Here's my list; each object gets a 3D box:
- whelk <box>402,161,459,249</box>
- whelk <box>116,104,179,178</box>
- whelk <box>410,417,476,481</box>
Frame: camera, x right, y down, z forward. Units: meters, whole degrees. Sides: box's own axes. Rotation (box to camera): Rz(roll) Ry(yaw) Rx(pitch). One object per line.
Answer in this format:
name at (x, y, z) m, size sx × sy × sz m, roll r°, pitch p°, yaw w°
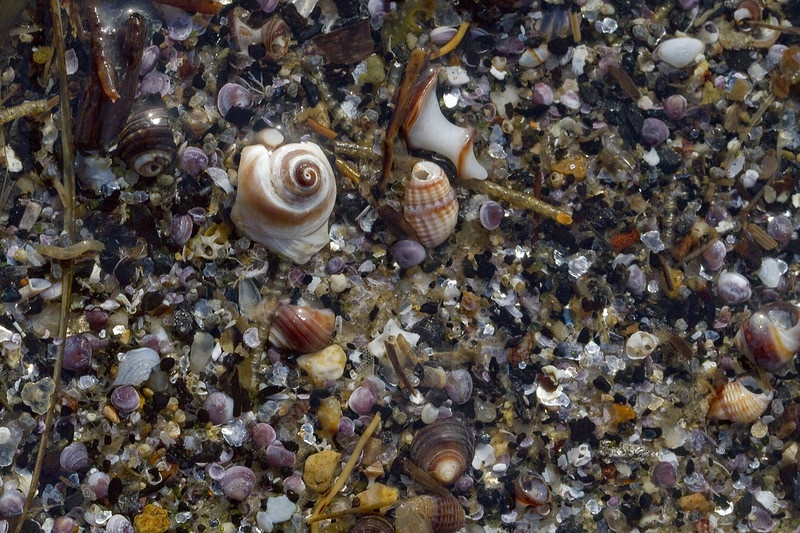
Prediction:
whelk at (0.182, -0.373, 5.585) m, size 0.365 × 0.425 × 0.294 m, roll 25°, pitch 50°, yaw 17°
whelk at (-1.522, -0.760, 5.390) m, size 0.324 × 0.427 × 0.180 m, roll -2°, pitch 2°, yaw 10°
whelk at (0.263, 1.132, 5.569) m, size 0.392 × 0.215 × 0.326 m, roll 8°, pitch 49°, yaw 1°
